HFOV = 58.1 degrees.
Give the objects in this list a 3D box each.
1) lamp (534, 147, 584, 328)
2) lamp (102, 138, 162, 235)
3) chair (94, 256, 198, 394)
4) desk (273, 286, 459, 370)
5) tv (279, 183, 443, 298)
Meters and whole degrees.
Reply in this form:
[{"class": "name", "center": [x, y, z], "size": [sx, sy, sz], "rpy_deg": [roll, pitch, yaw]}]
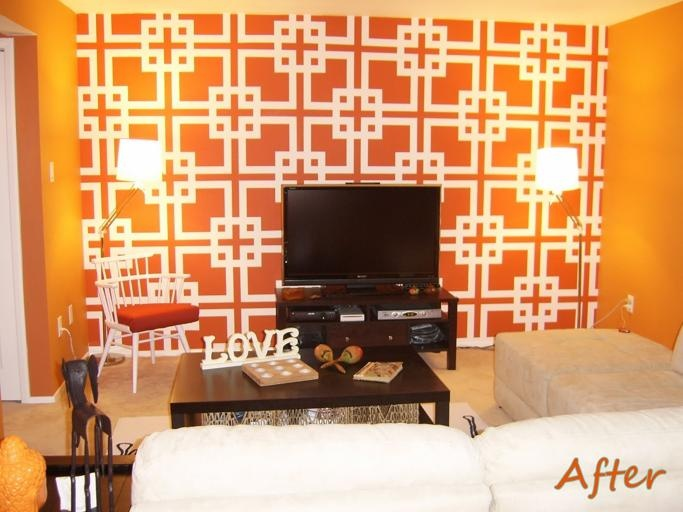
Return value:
[{"class": "lamp", "center": [1.895, -0.120, 5.348], "size": [0.376, 1.598, 0.805], "rpy_deg": [1, 4, 20]}, {"class": "lamp", "center": [-1.692, -0.551, 4.984], "size": [0.531, 0.777, 0.500], "rpy_deg": [-2, 4, -21]}, {"class": "chair", "center": [-1.579, 0.487, 4.900], "size": [0.626, 0.933, 0.750], "rpy_deg": [9, 10, 37]}, {"class": "desk", "center": [0.329, 0.660, 5.195], "size": [1.497, 0.620, 0.477], "rpy_deg": [-5, 1, 28]}, {"class": "tv", "center": [0.161, -0.182, 5.178], "size": [1.365, 0.846, 0.097], "rpy_deg": [-1, 4, -9]}]
